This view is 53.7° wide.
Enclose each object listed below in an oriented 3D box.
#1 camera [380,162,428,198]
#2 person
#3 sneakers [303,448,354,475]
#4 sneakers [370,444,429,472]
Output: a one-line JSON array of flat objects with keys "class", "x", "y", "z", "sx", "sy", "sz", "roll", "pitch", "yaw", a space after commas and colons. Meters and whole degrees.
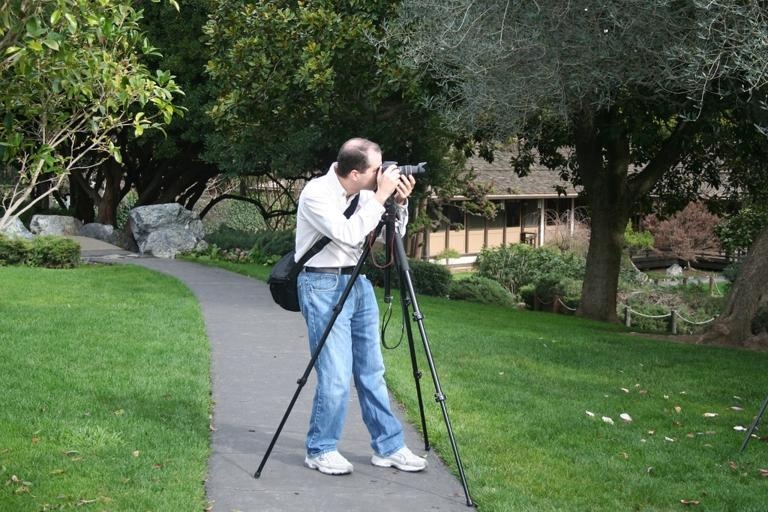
[{"class": "camera", "x": 0.239, "y": -0.772, "z": 7.629, "sx": 0.555, "sy": 0.212, "sz": 0.294, "roll": -4, "pitch": 11, "yaw": 8}, {"class": "person", "x": -0.294, "y": 0.521, "z": 7.758, "sx": 1.249, "sy": 3.399, "sz": 0.605, "roll": 3, "pitch": 9, "yaw": -7}, {"class": "sneakers", "x": -0.550, "y": 2.114, "z": 7.795, "sx": 0.413, "sy": 0.199, "sz": 0.239, "roll": 3, "pitch": 0, "yaw": 31}, {"class": "sneakers", "x": 0.206, "y": 2.141, "z": 8.037, "sx": 0.562, "sy": 0.273, "sz": 0.245, "roll": 1, "pitch": -4, "yaw": 5}]
